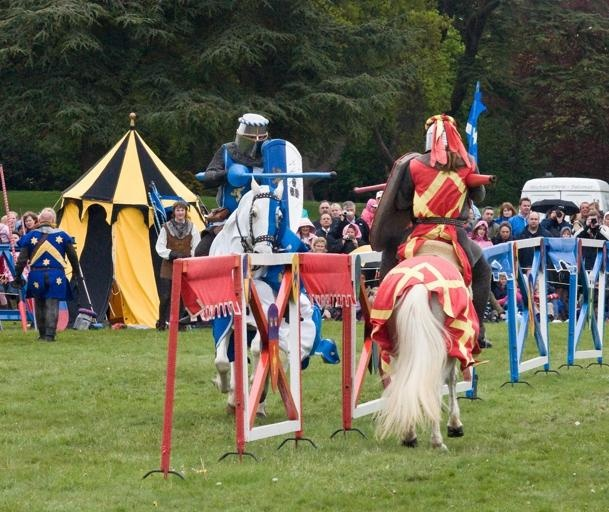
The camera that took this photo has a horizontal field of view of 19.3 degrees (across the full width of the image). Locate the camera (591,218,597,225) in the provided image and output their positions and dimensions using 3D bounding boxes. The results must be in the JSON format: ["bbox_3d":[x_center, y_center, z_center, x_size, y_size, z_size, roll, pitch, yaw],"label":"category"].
[{"bbox_3d":[6.680,-0.859,41.529,0.125,0.197,0.115,2,4,9],"label":"camera"}]

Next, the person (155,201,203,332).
[{"bbox_3d":[-2.980,-0.240,40.681,0.820,3.793,0.868,-3,13,-37],"label":"person"}]

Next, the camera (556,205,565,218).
[{"bbox_3d":[6.220,-1.154,43.855,0.139,0.301,0.266,3,-19,11],"label":"camera"}]

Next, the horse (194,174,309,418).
[{"bbox_3d":[-0.854,-0.464,35.565,1.063,2.788,3.726,-2,15,-2],"label":"horse"}]

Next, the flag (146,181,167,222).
[{"bbox_3d":[-3.492,-1.244,42.029,0.253,1.170,0.322,-5,-28,-20],"label":"flag"}]

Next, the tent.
[{"bbox_3d":[-4.340,-0.659,43.455,3.370,5.310,3.605,-1,0,-12],"label":"tent"}]
